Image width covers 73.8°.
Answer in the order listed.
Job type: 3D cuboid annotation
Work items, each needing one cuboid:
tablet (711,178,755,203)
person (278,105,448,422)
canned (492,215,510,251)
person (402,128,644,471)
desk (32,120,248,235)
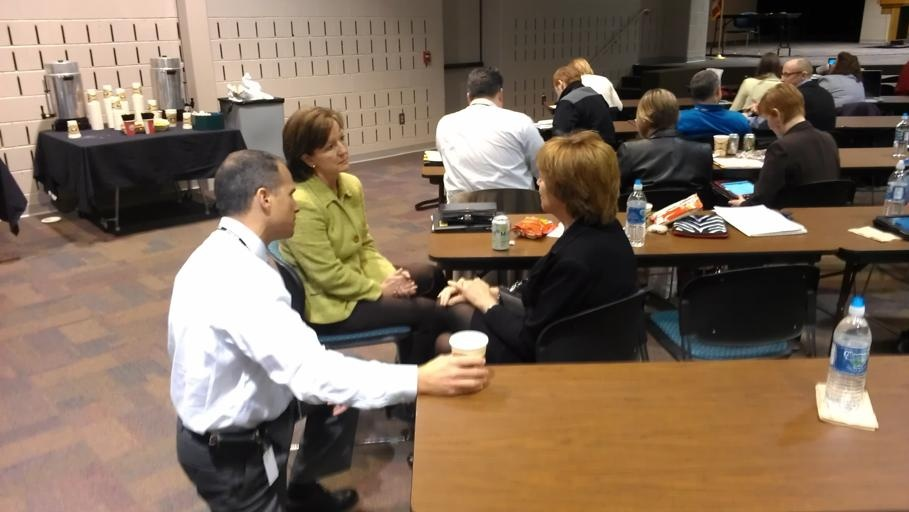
[{"bbox_3d":[2.497,-0.585,5.356,0.293,0.061,0.260,-8,24,-18],"label":"tablet"},{"bbox_3d":[-0.601,0.084,4.172,1.259,2.000,0.783,6,24,10],"label":"person"},{"bbox_3d":[0.318,-0.149,4.160,0.155,0.239,0.144,7,33,7],"label":"canned"},{"bbox_3d":[0.125,-0.035,3.474,1.519,2.176,0.997,10,23,23],"label":"person"},{"bbox_3d":[-3.769,-1.008,7.067,1.901,0.823,1.821,-13,27,-30],"label":"desk"}]
